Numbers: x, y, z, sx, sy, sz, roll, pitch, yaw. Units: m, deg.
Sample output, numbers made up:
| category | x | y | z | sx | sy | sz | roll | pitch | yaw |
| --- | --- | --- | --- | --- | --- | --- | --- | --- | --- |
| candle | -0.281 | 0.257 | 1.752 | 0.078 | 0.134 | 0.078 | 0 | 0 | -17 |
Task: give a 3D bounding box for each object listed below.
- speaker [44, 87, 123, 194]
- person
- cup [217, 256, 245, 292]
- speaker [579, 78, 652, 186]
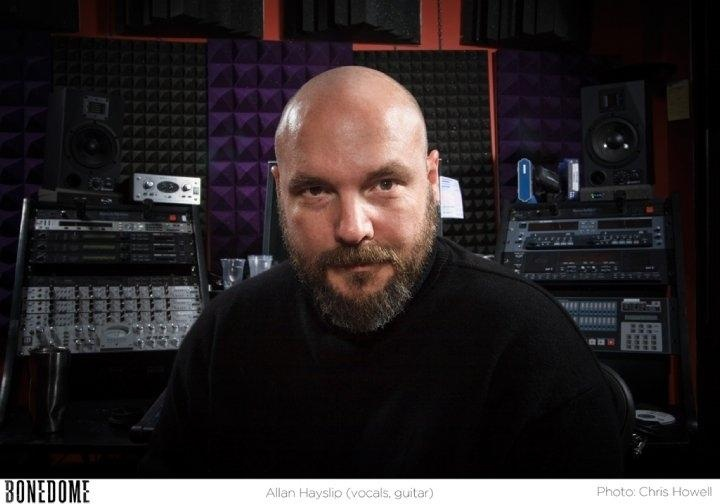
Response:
| category | x | y | z | sx | sy | sz | roll | pitch | yaw |
| --- | --- | --- | --- | --- | --- | --- | --- | --- | --- |
| speaker | -1.611 | -0.670 | 3.662 | 0.429 | 0.594 | 0.413 | 2 | 9 | -30 |
| person | 0.019 | 0.093 | 2.003 | 1.558 | 1.278 | 0.905 | 3 | -2 | 18 |
| cup | -0.746 | 0.141 | 3.441 | 0.139 | 0.182 | 0.124 | 4 | -13 | -16 |
| speaker | 1.793 | -0.812 | 4.078 | 0.487 | 0.706 | 0.479 | -6 | 12 | 9 |
